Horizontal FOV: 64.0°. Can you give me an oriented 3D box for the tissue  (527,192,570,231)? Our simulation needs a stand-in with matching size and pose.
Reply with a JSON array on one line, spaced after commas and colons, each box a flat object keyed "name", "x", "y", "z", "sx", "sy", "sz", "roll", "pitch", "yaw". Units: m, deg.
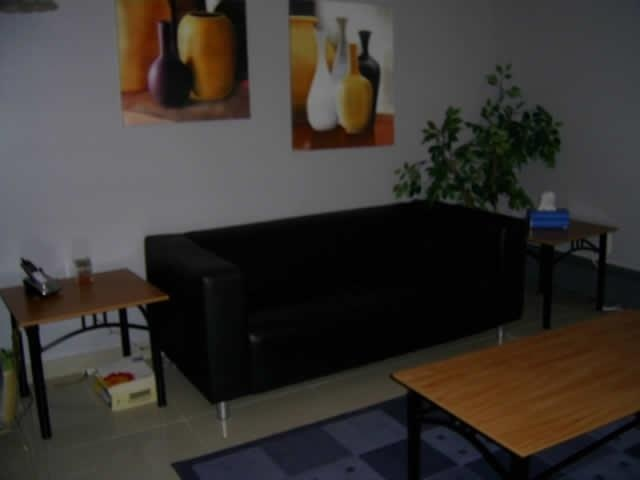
[{"name": "tissue ", "x": 1.833, "y": -0.208, "z": 4.169, "sx": 0.384, "sy": 0.389, "sz": 0.299, "roll": 1, "pitch": 8, "yaw": 13}]
